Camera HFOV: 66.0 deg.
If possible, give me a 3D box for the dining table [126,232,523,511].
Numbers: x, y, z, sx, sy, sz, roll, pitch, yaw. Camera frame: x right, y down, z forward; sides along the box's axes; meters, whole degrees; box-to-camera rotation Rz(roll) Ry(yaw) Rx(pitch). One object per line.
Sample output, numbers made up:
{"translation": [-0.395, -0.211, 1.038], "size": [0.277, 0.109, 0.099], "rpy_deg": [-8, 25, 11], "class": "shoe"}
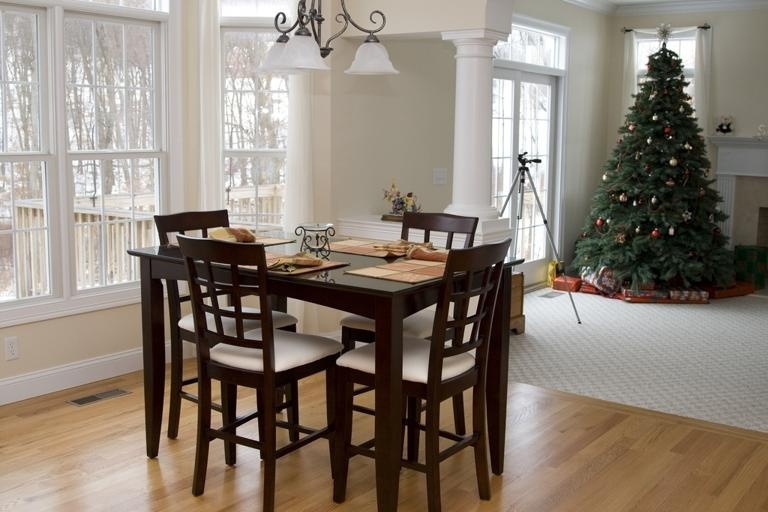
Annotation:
{"translation": [-0.368, 0.774, 3.559], "size": [2.139, 1.527, 1.393], "rpy_deg": [5, 7, 36], "class": "dining table"}
